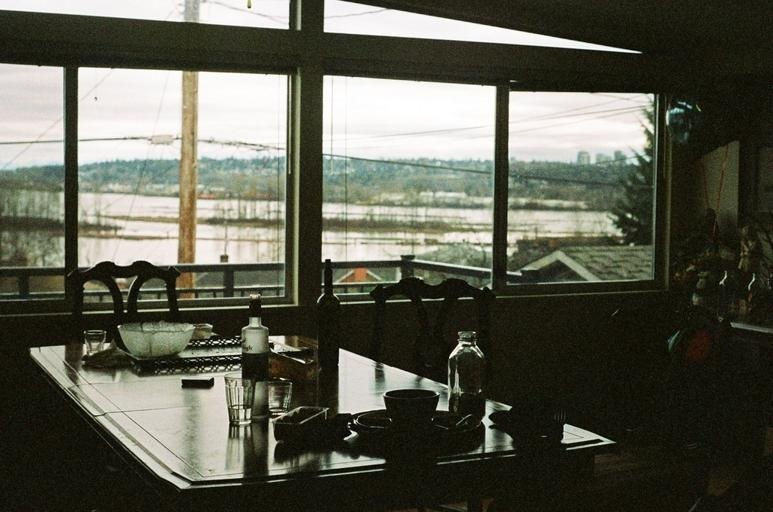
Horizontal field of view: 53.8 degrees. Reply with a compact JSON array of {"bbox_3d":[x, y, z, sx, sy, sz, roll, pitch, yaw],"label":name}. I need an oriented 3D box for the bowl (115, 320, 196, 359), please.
[{"bbox_3d":[-1.214,0.443,4.149,0.245,0.098,0.249,1,2,0],"label":"bowl"}]

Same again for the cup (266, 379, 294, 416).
[{"bbox_3d":[-0.493,0.646,3.536,0.121,0.111,0.135,1,-5,-4],"label":"cup"}]

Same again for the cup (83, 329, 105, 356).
[{"bbox_3d":[-1.601,0.476,4.182,0.127,0.138,0.128,1,-6,0],"label":"cup"}]

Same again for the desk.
[{"bbox_3d":[-0.490,0.755,3.500,2.796,0.501,1.210,0,7,21],"label":"desk"}]
